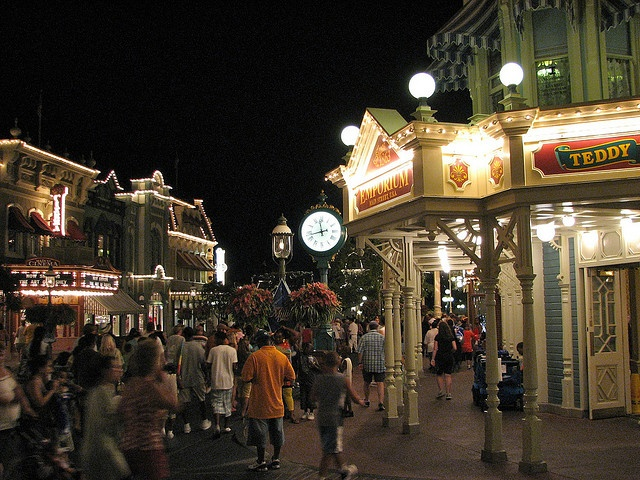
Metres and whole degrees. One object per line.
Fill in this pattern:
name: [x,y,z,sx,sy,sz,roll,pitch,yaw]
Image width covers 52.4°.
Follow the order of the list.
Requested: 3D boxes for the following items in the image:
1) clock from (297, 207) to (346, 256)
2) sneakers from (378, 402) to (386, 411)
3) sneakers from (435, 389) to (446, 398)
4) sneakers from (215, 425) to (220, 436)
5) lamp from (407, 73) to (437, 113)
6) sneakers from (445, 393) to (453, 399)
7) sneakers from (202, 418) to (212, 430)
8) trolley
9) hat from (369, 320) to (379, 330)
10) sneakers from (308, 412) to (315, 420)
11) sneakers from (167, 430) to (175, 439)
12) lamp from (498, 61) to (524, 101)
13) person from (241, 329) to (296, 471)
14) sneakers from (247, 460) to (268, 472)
clock: [0.078,-0.207,18.534,1.306,1.409,0.248,2,-16,13]
sneakers: [1.516,4.208,16.261,0.122,0.152,0.374,1,0,3]
sneakers: [3.255,4.222,17.590,0.149,0.166,0.375,-1,-8,2]
sneakers: [-2.124,3.975,13.381,0.079,0.249,0.102,1,8,-2]
lamp: [1.885,-2.777,12.140,0.688,0.730,0.714,-3,1,2]
sneakers: [3.416,4.196,17.345,0.083,0.114,0.258,1,0,7]
sneakers: [-2.519,4.054,14.284,0.120,0.172,0.395,-2,7,6]
trolley: [4.426,3.500,16.184,1.146,1.446,1.750,-3,-3,17]
hat: [1.268,2.103,15.764,0.181,0.253,0.226,-3,-7,-39]
sneakers: [-0.234,4.146,15.151,0.109,0.135,0.335,-2,-14,2]
sneakers: [-3.112,4.045,13.415,0.160,0.167,0.120,-1,-4,4]
lamp: [3.330,-2.785,11.342,0.324,0.687,0.276,-1,-9,-3]
person: [-0.936,2.802,11.219,0.803,2.345,0.434,-1,-9,-6]
sneakers: [-1.093,3.910,11.198,0.319,0.145,0.153,2,-5,13]
